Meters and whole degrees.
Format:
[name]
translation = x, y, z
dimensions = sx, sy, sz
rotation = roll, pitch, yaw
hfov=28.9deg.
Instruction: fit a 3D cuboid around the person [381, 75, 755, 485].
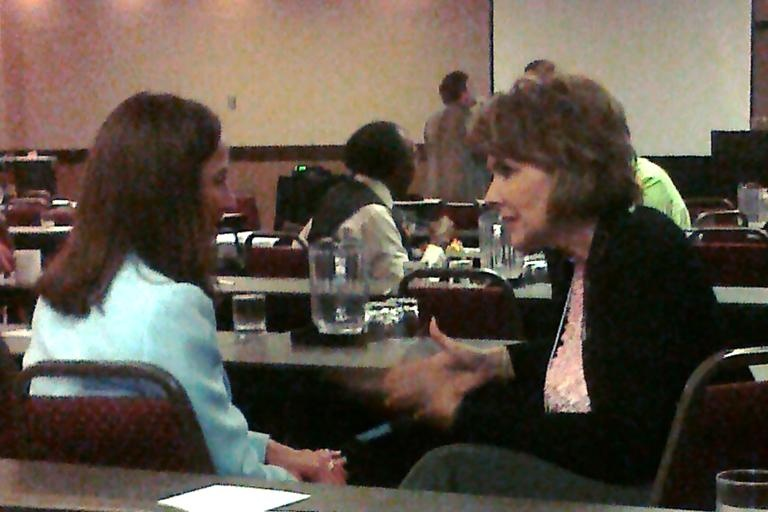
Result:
[person]
translation = 0.417, 0.032, 3.569
dimensions = 0.339, 0.906, 0.749
rotation = -13, 19, -42
